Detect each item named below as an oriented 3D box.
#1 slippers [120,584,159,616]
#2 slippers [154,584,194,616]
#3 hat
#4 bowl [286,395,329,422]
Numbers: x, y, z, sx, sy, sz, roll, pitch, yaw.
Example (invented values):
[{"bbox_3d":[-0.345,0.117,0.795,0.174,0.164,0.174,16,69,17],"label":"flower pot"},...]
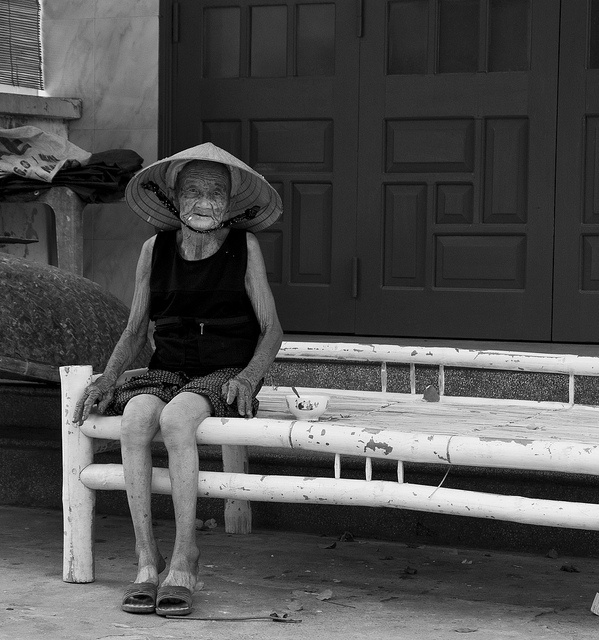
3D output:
[{"bbox_3d":[-0.428,0.744,3.401,0.090,0.071,0.070,1,5,-2],"label":"slippers"},{"bbox_3d":[-0.334,0.745,3.365,0.089,0.074,0.054,1,5,6],"label":"slippers"},{"bbox_3d":[-0.299,-0.456,4.285,0.445,0.199,0.455,0,-34,3],"label":"hat"},{"bbox_3d":[0.024,0.257,3.682,0.081,0.051,0.082,-1,-4,0],"label":"bowl"}]
